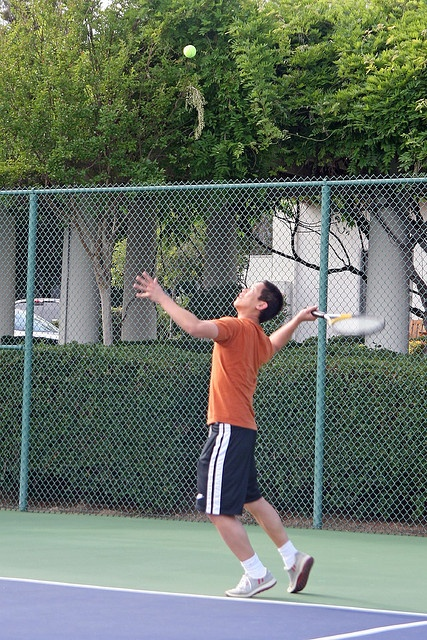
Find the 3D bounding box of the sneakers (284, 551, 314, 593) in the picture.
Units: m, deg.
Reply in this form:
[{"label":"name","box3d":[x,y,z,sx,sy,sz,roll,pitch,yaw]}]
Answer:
[{"label":"sneakers","box3d":[0.450,1.393,4.074,0.131,0.273,0.097,25,40,18]}]
